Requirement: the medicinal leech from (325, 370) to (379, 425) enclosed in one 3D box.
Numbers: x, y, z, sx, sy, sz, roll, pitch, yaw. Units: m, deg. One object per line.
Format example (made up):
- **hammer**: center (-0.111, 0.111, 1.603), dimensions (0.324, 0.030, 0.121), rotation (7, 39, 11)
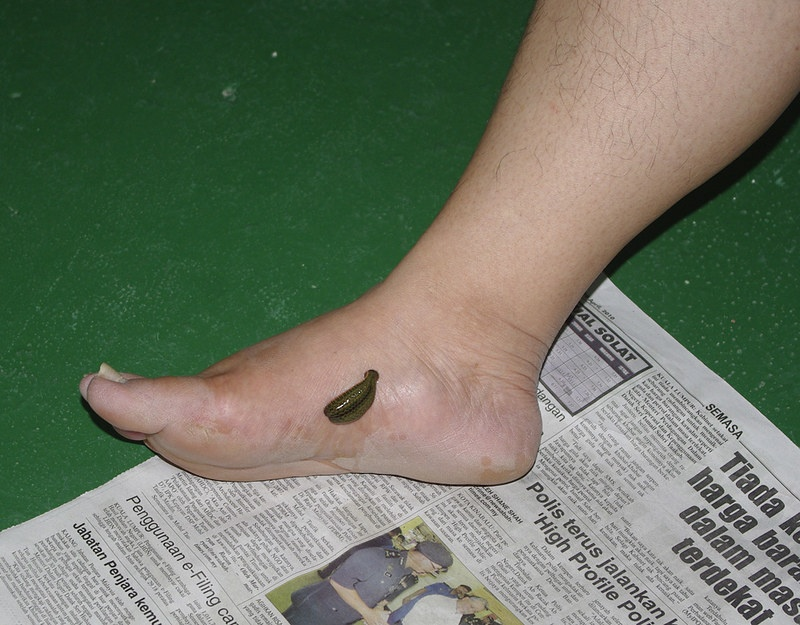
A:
- **medicinal leech**: center (-0.053, 0.086, 0.879), dimensions (0.038, 0.023, 0.067), rotation (42, 84, -11)
